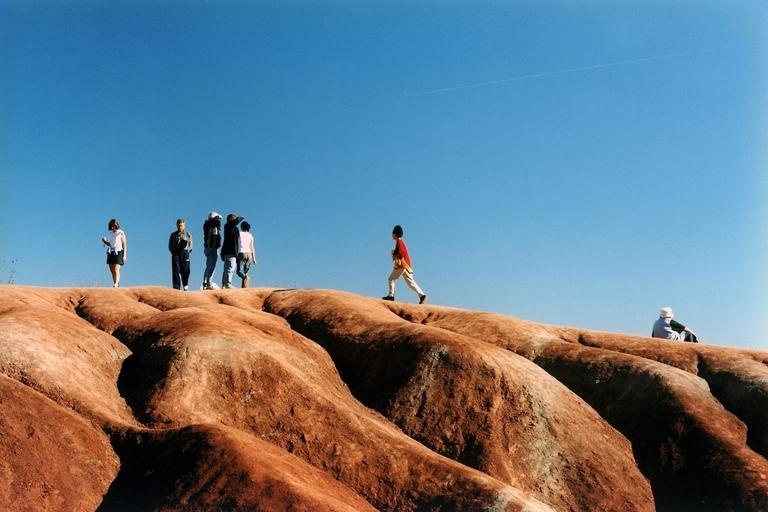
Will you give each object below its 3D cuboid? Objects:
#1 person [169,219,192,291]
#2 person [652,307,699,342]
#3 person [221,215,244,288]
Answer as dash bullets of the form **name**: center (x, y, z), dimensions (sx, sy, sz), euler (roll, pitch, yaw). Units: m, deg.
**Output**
- **person**: center (-6.502, -0.055, 22.147), dimensions (0.641, 1.578, 1.518), euler (2, 1, -17)
- **person**: center (8.537, 1.999, 20.504), dimensions (1.415, 1.042, 0.797), euler (2, 1, -20)
- **person**: center (-4.993, -0.163, 22.387), dimensions (0.566, 1.745, 1.256), euler (2, 1, -9)
